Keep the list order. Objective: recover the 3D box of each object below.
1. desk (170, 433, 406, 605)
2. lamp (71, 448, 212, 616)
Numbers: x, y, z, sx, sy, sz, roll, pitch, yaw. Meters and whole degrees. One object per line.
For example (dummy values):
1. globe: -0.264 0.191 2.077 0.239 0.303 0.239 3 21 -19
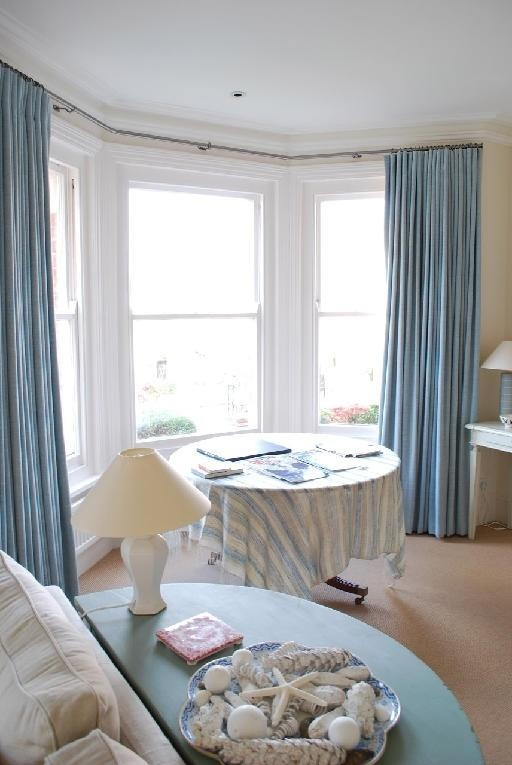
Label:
1. desk: 0.138 0.507 2.174 0.632 0.357 0.640 8 14 41
2. lamp: -0.263 0.350 1.361 0.308 0.374 0.294 -5 3 -43
